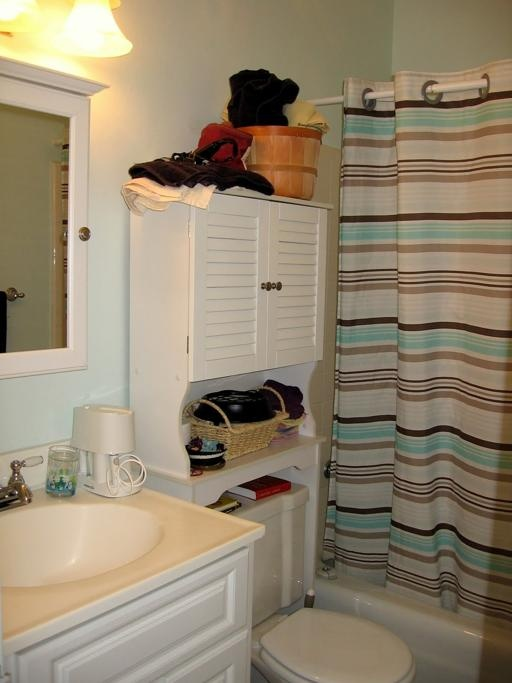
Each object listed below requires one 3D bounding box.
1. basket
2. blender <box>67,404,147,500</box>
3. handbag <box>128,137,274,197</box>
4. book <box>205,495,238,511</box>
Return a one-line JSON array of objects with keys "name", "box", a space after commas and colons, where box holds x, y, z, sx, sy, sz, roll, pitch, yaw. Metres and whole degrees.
[{"name": "basket", "box": [-0.040, 0.228, 1.625, 0.175, 0.135, 0.239, 1, 0, 29]}, {"name": "blender", "box": [-0.353, 0.256, 1.310, 0.193, 0.190, 0.114, 3, 2, 39]}, {"name": "handbag", "box": [-0.110, -0.394, 1.313, 0.218, 0.067, 0.214, 14, 19, 35]}, {"name": "book", "box": [-0.084, 0.460, 1.604, 0.065, 0.016, 0.066, 2, 4, 39]}]
